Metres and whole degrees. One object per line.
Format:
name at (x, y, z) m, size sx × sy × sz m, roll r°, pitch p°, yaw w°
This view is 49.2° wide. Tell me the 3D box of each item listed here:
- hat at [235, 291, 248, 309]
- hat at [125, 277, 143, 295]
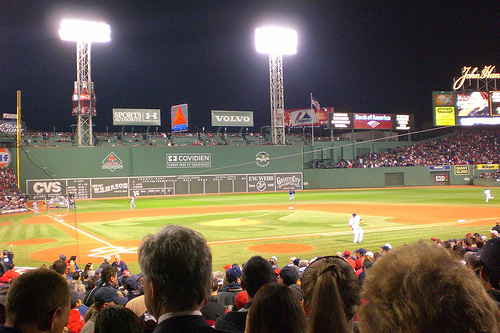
hat at (-0.403, 6.371, 26.078) m, size 0.613 × 0.297 × 0.833 m, roll 6°, pitch 10°, yaw 0°
hat at (-5.975, 6.049, 28.041) m, size 0.692 × 0.932 × 0.445 m, roll -25°, pitch 4°, yaw 13°
